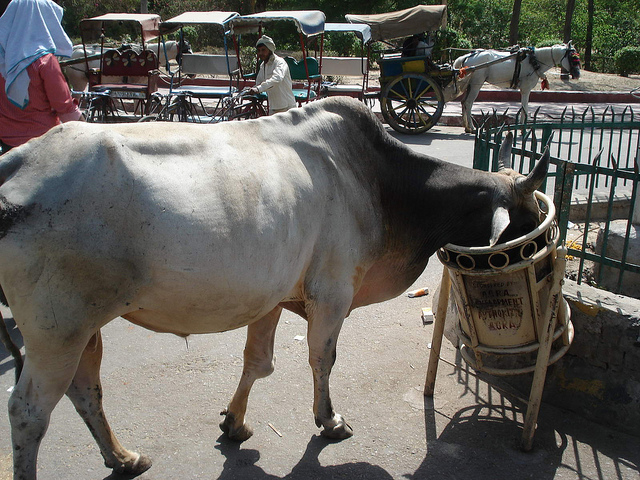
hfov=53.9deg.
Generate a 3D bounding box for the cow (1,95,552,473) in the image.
[{"bbox_3d":[-0.272,0.389,3.905,2.132,1.447,0.759,-9,15,-34],"label":"cow"}]

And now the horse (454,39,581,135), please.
[{"bbox_3d":[4.406,-3.459,14.425,2.810,2.195,0.738,3,12,10],"label":"horse"}]
